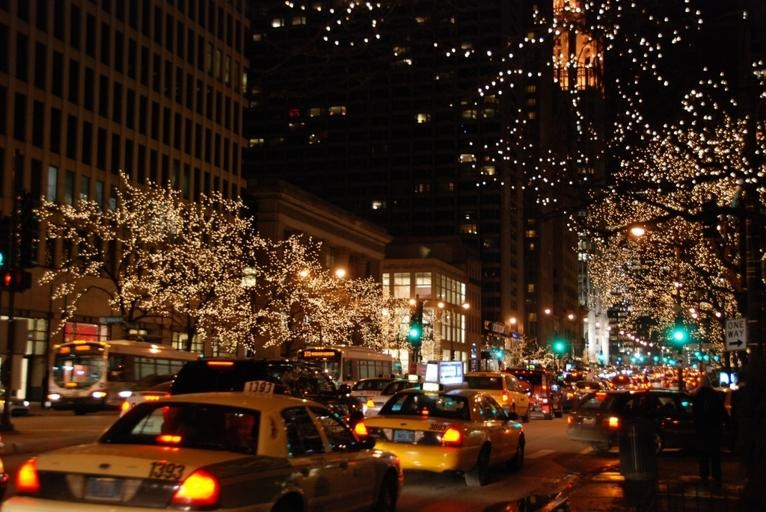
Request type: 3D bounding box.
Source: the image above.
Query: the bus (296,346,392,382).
[{"bbox_3d":[-1.628,6.031,47.837,2.285,2.384,8.639,-5,-12,21],"label":"bus"}]
